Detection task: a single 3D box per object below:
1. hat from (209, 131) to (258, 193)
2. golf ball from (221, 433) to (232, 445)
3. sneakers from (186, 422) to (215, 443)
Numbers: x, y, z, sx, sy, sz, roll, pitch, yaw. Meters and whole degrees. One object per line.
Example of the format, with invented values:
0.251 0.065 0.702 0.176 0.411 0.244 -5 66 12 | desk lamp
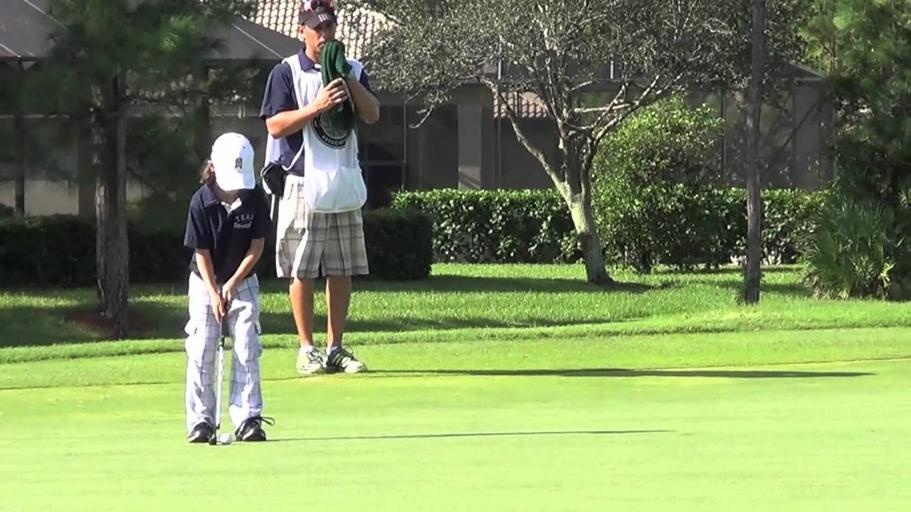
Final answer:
-3.072 -1.325 23.534 0.470 0.911 0.990 0 1 -5 | hat
-3.102 2.463 22.744 0.156 0.126 0.107 1 0 -8 | golf ball
-3.426 2.382 22.711 0.342 0.251 0.113 1 0 -14 | sneakers
